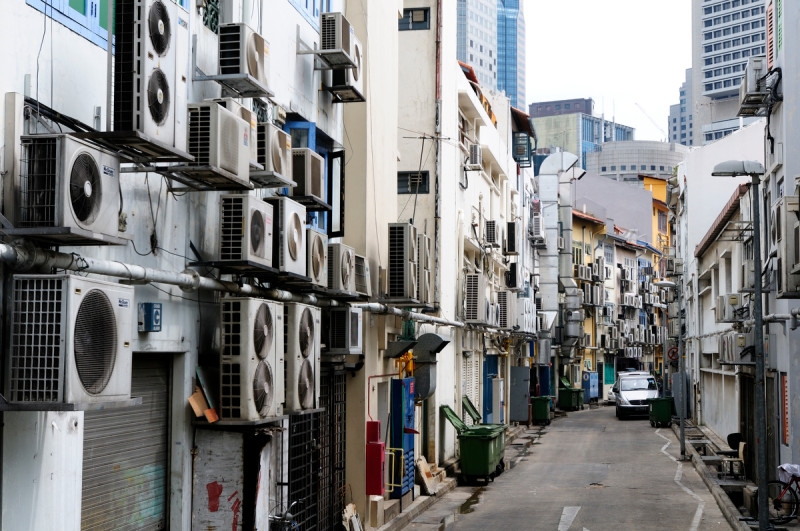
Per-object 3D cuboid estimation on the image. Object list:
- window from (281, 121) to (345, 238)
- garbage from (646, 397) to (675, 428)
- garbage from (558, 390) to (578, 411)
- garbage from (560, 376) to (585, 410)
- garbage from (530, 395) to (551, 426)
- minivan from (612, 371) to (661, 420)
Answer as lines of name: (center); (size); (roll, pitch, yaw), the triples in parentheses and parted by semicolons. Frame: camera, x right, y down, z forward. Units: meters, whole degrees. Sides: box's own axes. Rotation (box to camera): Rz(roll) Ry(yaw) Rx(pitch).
window: (-1.677, -1.393, 21.496); (1.023, 2.010, 2.196); (1, 2, 12)
garbage: (11.016, 6.235, 49.248); (1.316, 1.419, 1.017); (1, -5, -6)
garbage: (9.051, 7.353, 64.007); (0.907, 1.675, 1.693); (-2, -3, 19)
garbage: (9.347, 7.119, 64.550); (0.906, 1.820, 2.192); (-2, -4, 27)
garbage: (6.165, 6.467, 51.565); (0.941, 1.311, 1.262); (-1, -2, 0)
minivan: (10.956, 6.136, 55.159); (1.334, 1.494, 2.786); (-1, -12, 5)
